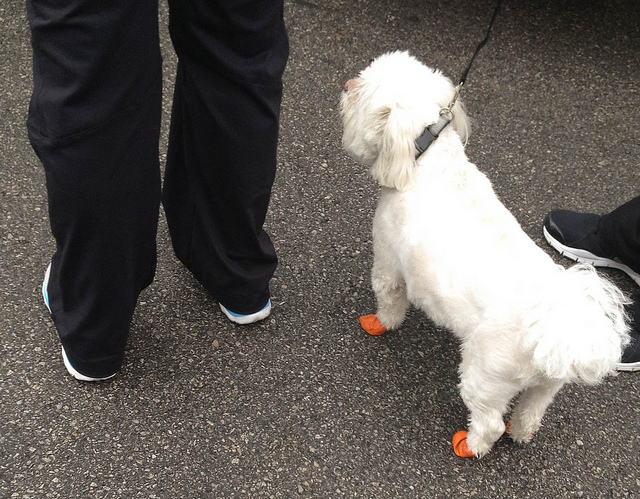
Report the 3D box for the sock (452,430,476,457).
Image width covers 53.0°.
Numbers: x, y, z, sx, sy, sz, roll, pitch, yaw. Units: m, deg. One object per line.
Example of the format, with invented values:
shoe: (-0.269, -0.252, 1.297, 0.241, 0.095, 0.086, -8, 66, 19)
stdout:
sock: (0.547, 0.735, 2.424, 0.067, 0.032, 0.087, -14, 59, -17)
